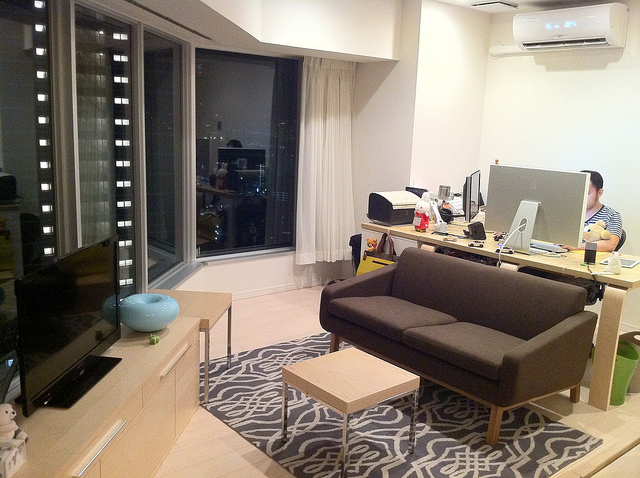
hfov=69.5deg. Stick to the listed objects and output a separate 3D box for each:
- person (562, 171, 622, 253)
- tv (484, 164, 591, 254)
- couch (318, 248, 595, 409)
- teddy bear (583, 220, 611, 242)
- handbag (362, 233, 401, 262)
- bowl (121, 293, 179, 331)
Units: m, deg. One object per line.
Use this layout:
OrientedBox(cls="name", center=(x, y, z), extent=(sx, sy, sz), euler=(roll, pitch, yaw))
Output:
OrientedBox(cls="person", center=(2.596, -0.188, 4.542), extent=(0.618, 0.895, 0.547), euler=(-1, 5, 40))
OrientedBox(cls="tv", center=(1.637, -0.224, 3.655), extent=(0.318, 0.664, 0.757), euler=(-16, 22, -42))
OrientedBox(cls="couch", center=(0.975, 0.614, 3.587), extent=(1.010, 0.780, 1.831), euler=(-3, 9, -36))
OrientedBox(cls="teddy bear", center=(2.483, -0.081, 4.205), extent=(0.240, 0.246, 0.164), euler=(11, 15, 38))
OrientedBox(cls="handbag", center=(0.607, 0.080, 4.477), extent=(0.243, 0.214, 0.087), euler=(12, 16, 34))
OrientedBox(cls="bowl", center=(-1.042, 0.464, 2.821), extent=(0.351, 0.186, 0.361), euler=(1, 1, 0))
